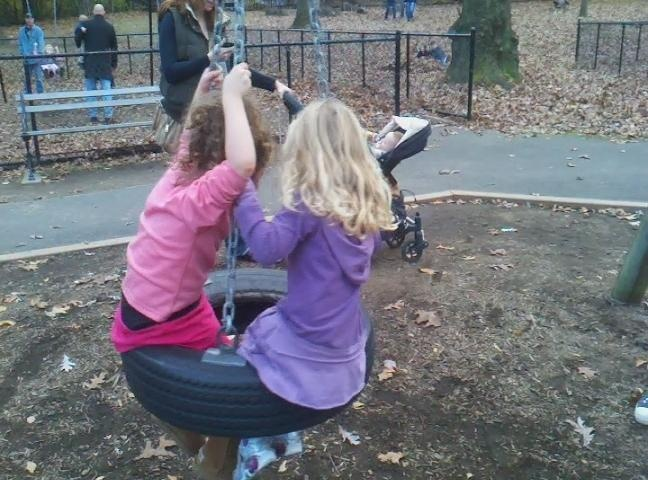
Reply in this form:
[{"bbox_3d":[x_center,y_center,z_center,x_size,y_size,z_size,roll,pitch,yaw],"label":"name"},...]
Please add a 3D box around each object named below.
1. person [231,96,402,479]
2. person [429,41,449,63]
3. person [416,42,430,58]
[{"bbox_3d":[-0.048,0.060,2.731,0.592,1.410,0.767,15,25,38],"label":"person"},{"bbox_3d":[3.434,-5.463,16.556,0.480,0.511,1.100,2,19,6],"label":"person"},{"bbox_3d":[3.023,-5.740,17.080,0.391,0.332,0.979,2,19,8],"label":"person"}]
